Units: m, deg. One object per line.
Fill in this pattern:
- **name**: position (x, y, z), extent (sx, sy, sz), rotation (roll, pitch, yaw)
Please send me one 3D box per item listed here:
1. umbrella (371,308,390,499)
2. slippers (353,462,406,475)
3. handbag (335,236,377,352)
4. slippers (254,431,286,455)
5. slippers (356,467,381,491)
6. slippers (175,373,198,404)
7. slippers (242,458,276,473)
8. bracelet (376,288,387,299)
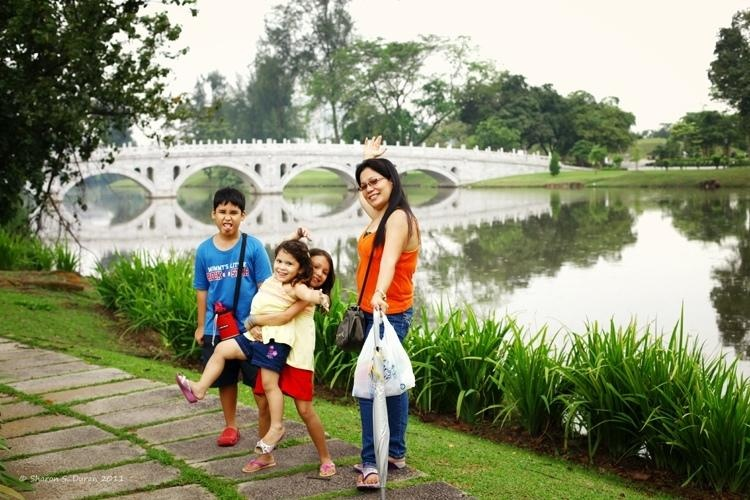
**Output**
- **umbrella**: position (0.032, 1.264, 6.014), extent (0.128, 1.142, 0.348), rotation (2, 1, -9)
- **slippers**: position (0.035, 1.875, 6.326), extent (0.423, 0.118, 0.158), rotation (4, -7, -27)
- **handbag**: position (-0.173, 0.391, 6.266), extent (0.279, 0.677, 0.203), rotation (2, 1, -33)
- **slippers**: position (-0.900, 1.687, 6.347), extent (0.133, 0.077, 0.295), rotation (25, 54, 37)
- **slippers**: position (-0.053, 1.929, 6.095), extent (0.192, 0.144, 0.372), rotation (0, -12, -1)
- **slippers**: position (-1.662, 1.229, 6.477), extent (0.103, 0.342, 0.187), rotation (-24, 4, -19)
- **slippers**: position (-0.999, 1.856, 6.260), extent (0.206, 0.062, 0.111), rotation (3, 0, -18)
- **bracelet**: position (0.052, 0.367, 6.094), extent (0.080, 0.032, 0.070), rotation (44, -2, 18)
